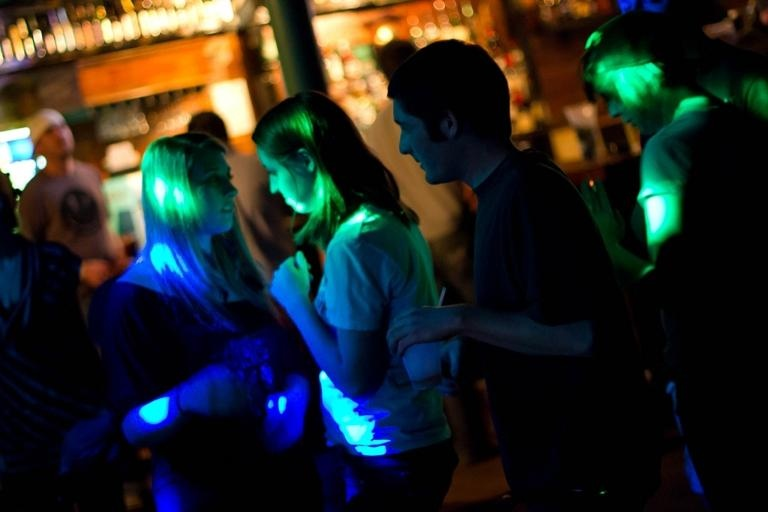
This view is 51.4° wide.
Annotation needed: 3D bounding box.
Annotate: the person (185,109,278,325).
[{"bbox_3d":[-1.078,-0.268,5.230,0.460,1.579,0.490,3,47,-1],"label":"person"}]
